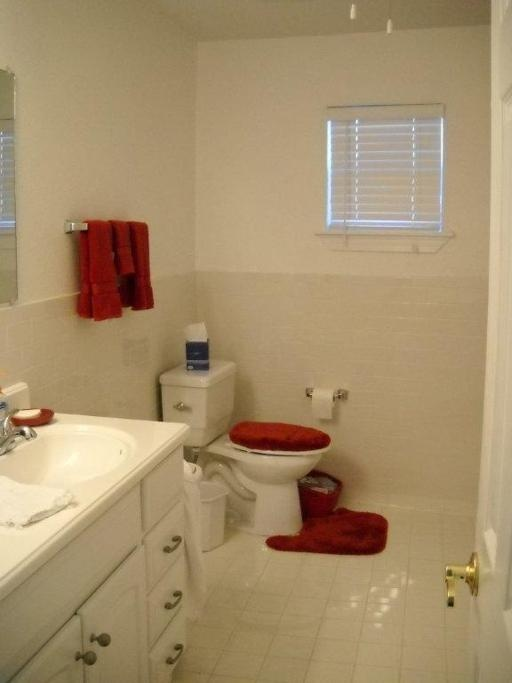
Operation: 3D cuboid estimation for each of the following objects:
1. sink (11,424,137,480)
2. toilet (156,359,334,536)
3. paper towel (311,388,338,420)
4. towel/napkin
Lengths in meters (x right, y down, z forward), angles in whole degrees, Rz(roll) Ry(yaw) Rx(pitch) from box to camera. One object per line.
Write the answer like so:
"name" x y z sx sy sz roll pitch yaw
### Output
"sink" -0.483 0.290 1.476 0.308 0.096 0.198 -3 10 -20
"toilet" -0.018 0.546 2.858 0.836 0.731 0.462 2 4 23
"paper towel" 0.363 0.326 3.023 0.135 0.151 0.098 6 18 18
"towel/napkin" -0.527 -0.271 2.114 0.113 0.329 0.389 5 15 20
